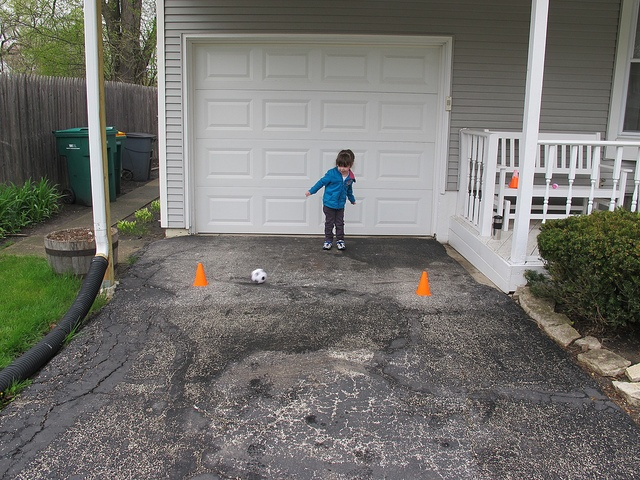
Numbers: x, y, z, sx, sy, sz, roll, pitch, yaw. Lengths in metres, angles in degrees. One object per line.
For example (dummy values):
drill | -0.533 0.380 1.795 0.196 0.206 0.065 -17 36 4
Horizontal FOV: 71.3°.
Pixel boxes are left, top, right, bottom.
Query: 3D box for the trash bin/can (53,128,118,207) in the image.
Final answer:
trash bin/can | -4.818 -1.506 9.214 1.045 1.563 0.940 -8 16 -29

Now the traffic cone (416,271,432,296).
traffic cone | 1.191 0.502 5.072 0.192 0.248 0.185 -6 24 -24

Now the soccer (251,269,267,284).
soccer | -0.720 0.413 5.260 0.189 0.153 0.197 -2 14 -10

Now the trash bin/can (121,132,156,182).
trash bin/can | -4.955 -2.245 12.112 0.837 1.266 0.507 -6 16 -25

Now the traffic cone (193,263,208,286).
traffic cone | -1.373 0.390 5.113 0.234 0.307 0.219 -1 4 -7

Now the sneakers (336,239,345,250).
sneakers | 0.304 0.056 6.600 0.156 0.163 0.390 -1 0 -9

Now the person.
person | 0.203 -0.603 6.548 0.606 1.427 0.388 0 14 0
